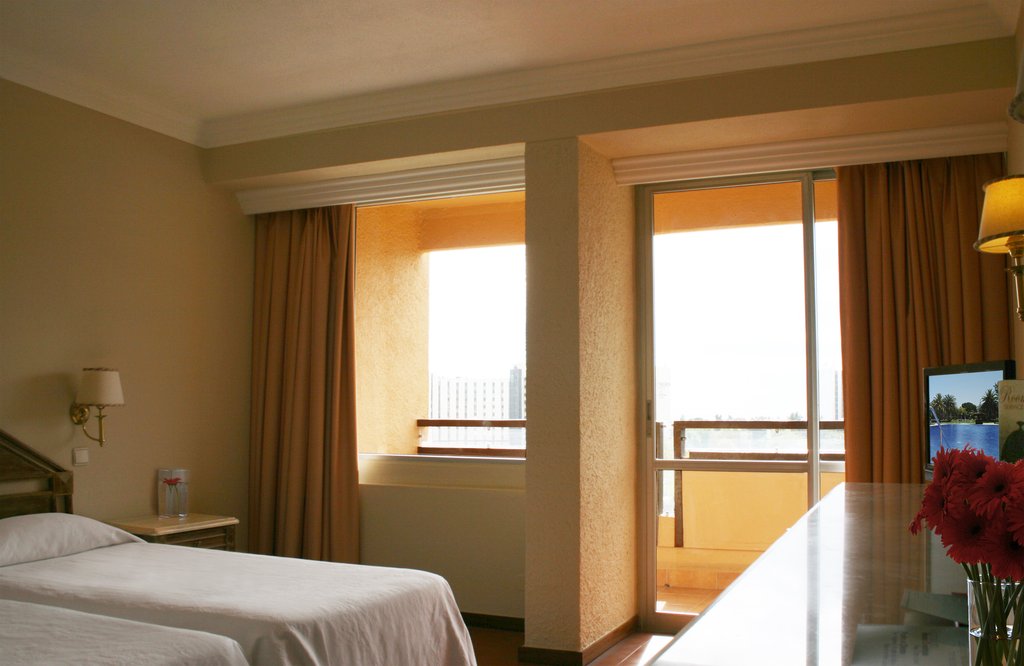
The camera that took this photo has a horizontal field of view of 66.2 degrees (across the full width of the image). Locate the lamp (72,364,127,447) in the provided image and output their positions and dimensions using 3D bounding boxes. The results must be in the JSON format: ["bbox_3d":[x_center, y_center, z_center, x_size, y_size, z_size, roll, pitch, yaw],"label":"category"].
[{"bbox_3d":[-2.762,0.483,5.227,0.340,0.497,0.314,0,-3,19],"label":"lamp"}]
